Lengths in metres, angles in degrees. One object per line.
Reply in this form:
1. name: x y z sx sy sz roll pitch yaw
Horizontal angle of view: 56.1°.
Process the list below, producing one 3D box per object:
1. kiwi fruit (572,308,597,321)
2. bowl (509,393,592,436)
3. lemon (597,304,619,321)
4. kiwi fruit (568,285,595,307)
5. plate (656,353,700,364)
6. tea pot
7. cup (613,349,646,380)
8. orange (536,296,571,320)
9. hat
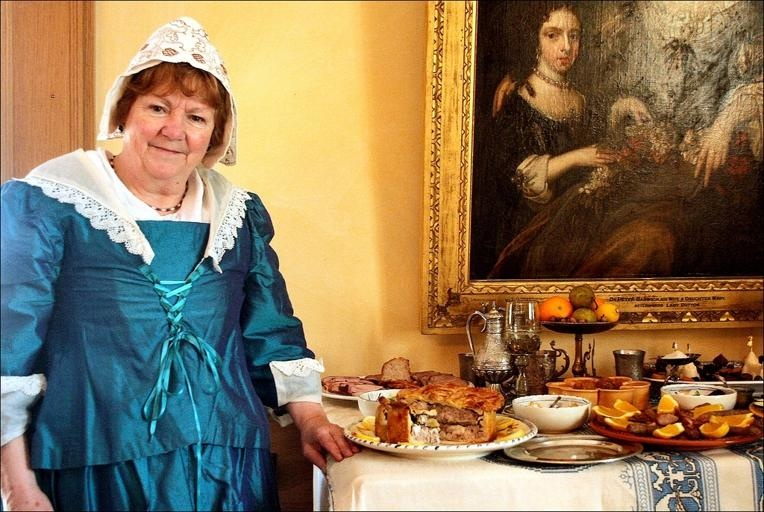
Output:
1. kiwi fruit: 0.718 0.215 2.547 0.059 0.049 0.053 1 10 6
2. bowl: 0.495 0.458 2.073 0.149 0.054 0.153 0 -6 0
3. lemon: 0.811 0.208 2.582 0.074 0.070 0.091 -5 -7 11
4. kiwi fruit: 0.736 0.155 2.641 0.091 0.083 0.051 -5 -7 11
5. plate: 1.036 0.365 2.511 0.135 0.036 0.207 -5 -7 20
6. tea pot: 0.368 0.324 2.358 0.191 0.294 0.170 -1 1 -2
7. cup: 0.867 0.385 2.537 0.127 0.130 0.100 0 -6 10
8. orange: 0.631 0.193 2.596 0.130 0.087 0.075 -3 -6 -3
9. hat: -0.591 -0.482 2.076 0.408 0.374 0.324 8 16 -1
